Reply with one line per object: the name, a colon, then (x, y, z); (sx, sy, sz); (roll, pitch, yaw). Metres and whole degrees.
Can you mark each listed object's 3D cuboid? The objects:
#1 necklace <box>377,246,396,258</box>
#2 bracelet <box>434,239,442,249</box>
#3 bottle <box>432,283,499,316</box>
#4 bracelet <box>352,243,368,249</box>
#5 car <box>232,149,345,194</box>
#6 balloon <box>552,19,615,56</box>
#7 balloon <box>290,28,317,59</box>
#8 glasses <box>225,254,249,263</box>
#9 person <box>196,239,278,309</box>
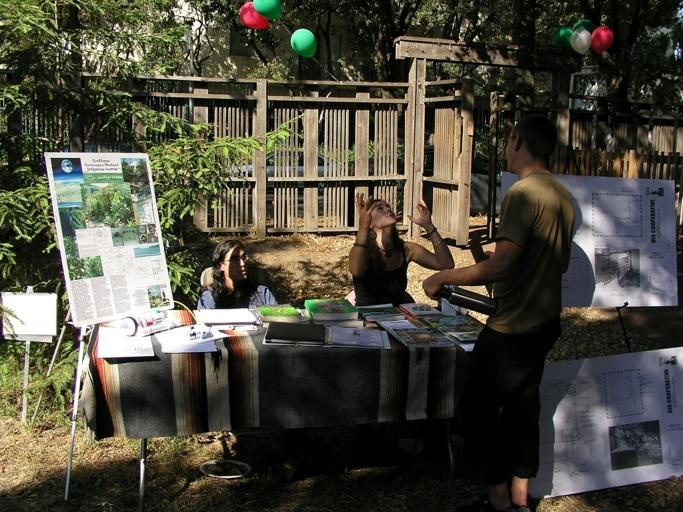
necklace: (0.453, -0.041, 6.286); (0.095, 0.083, 0.104); (2, 4, -8)
bracelet: (0.926, -0.124, 6.162); (0.057, 0.067, 0.060); (-7, 5, -30)
bottle: (0.903, 0.306, 4.727); (0.547, 0.184, 0.170); (19, 23, 3)
bracelet: (0.169, -0.107, 6.039); (0.130, 0.060, 0.115); (-2, 6, 6)
car: (-1.044, -1.475, 12.034); (1.827, 0.864, 0.910); (5, 28, -5)
balloon: (4.039, -3.800, 11.074); (0.868, 0.435, 0.926); (-24, 32, -24)
balloon: (-0.685, -3.882, 11.432); (0.389, 0.681, 1.197); (-3, 5, -1)
glasses: (-0.972, 0.027, 5.969); (0.215, 0.083, 0.097); (-7, 7, -38)
person: (-1.052, 0.194, 6.130); (0.751, 0.699, 0.373); (-7, 4, -35)
